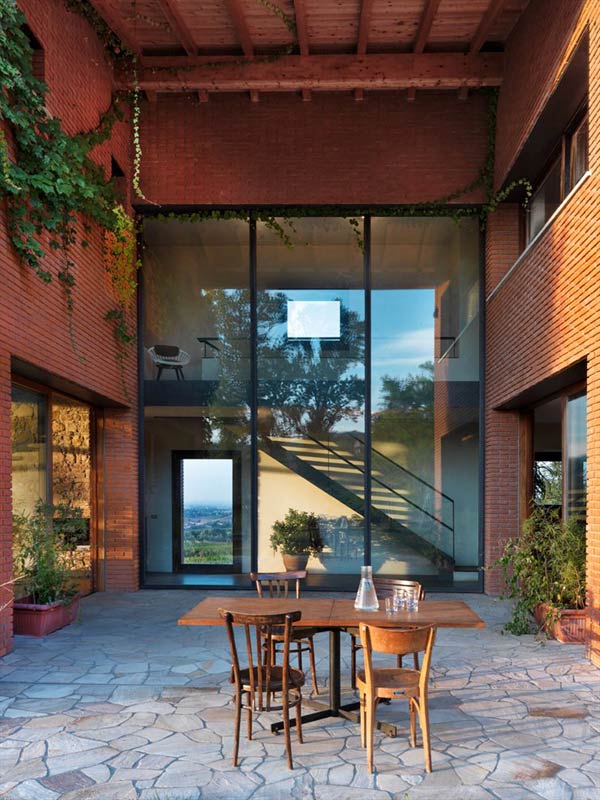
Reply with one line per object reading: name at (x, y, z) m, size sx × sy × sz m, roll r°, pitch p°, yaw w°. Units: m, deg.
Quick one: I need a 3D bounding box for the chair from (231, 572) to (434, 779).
chair at (0.175, 1.516, 4.640) m, size 1.143 × 0.947 × 1.539 m, roll 0°, pitch -5°, yaw 4°

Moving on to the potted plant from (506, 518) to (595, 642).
potted plant at (2.270, 1.638, 7.215) m, size 0.637 × 1.173 × 0.940 m, roll 1°, pitch -5°, yaw -7°

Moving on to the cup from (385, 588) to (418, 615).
cup at (0.640, 1.273, 4.857) m, size 0.157 × 0.144 × 0.152 m, roll 1°, pitch 3°, yaw 0°

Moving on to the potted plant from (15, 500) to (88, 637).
potted plant at (-2.637, 1.762, 7.781) m, size 0.647 × 1.178 × 1.224 m, roll 0°, pitch -13°, yaw -35°

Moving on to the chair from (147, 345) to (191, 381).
chair at (-1.810, -0.502, 10.505) m, size 0.591 × 0.559 × 0.447 m, roll 2°, pitch -7°, yaw -12°

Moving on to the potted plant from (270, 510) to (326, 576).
potted plant at (-0.050, 1.921, 10.242) m, size 0.890 × 0.934 × 0.700 m, roll 0°, pitch -5°, yaw 1°
